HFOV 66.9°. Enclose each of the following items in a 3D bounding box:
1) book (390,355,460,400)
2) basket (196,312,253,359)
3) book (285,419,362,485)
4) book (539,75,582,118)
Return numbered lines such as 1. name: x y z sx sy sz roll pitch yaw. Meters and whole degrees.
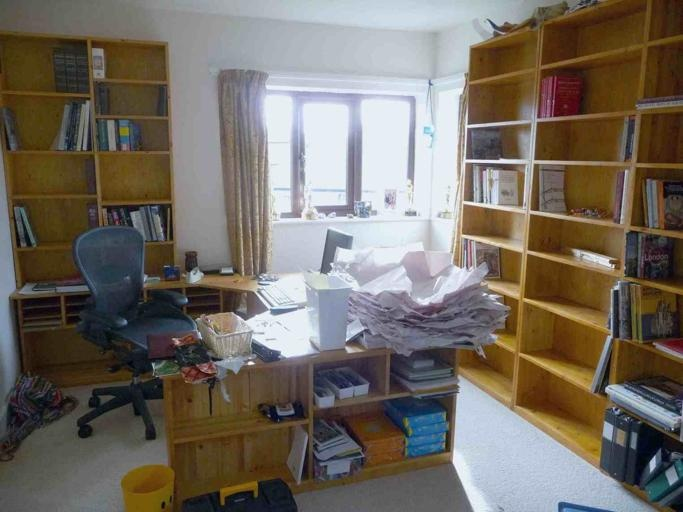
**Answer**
1. book: 0.498 0.718 3.107 0.268 0.128 0.351 -3 8 -21
2. basket: -0.635 0.431 2.840 0.261 0.177 0.274 -8 14 -25
3. book: -0.100 1.151 3.096 0.449 0.361 0.212 -6 13 -17
4. book: 1.492 -1.092 3.521 0.313 0.321 0.180 -4 11 -17
